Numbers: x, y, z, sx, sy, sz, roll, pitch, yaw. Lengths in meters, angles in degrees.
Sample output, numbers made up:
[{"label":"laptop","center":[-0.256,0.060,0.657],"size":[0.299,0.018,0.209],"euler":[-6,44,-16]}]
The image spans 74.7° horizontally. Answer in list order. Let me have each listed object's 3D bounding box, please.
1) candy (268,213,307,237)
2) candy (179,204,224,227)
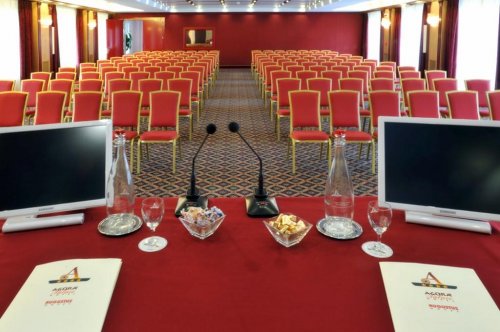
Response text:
[{"label":"candy","center":[0.174,0.274,1.529],"size":[0.113,0.035,0.108],"euler":[-4,17,-14]},{"label":"candy","center":[-0.231,0.232,1.581],"size":[0.126,0.038,0.126],"euler":[-6,9,-14]}]
